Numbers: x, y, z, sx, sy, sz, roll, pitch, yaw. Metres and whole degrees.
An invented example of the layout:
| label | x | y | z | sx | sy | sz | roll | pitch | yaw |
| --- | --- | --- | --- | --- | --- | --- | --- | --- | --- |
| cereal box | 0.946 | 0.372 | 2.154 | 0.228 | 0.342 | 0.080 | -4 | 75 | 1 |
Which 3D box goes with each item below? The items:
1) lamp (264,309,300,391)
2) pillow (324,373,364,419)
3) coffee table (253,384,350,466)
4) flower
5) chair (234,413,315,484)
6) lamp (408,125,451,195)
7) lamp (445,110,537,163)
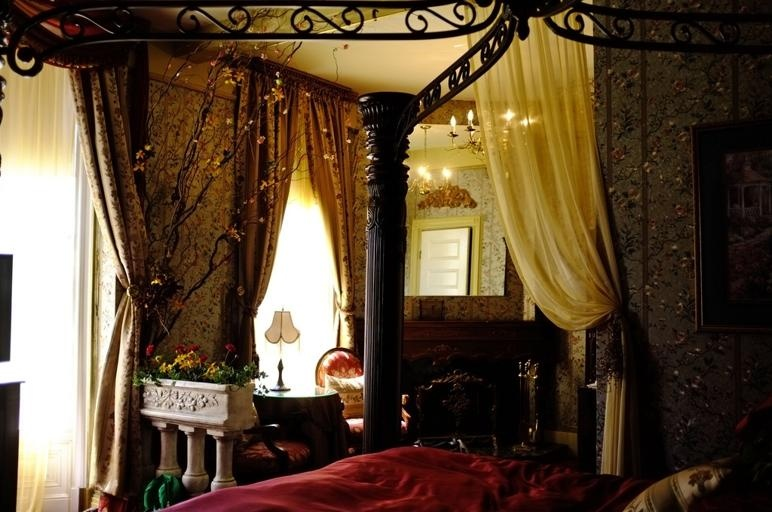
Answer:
| label | x | y | z | sx | sy | sz | roll | pitch | yaw |
| --- | --- | --- | --- | --- | --- | --- | --- | --- | --- |
| lamp | -0.962 | 0.865 | 6.157 | 0.285 | 0.766 | 0.741 | -3 | 1 | -9 |
| pillow | -0.373 | 1.500 | 6.767 | 0.395 | 0.255 | 0.397 | -7 | -14 | 13 |
| coffee table | -0.637 | 1.585 | 5.920 | 0.611 | 0.559 | 0.600 | -3 | -8 | 13 |
| flower | -1.585 | 0.913 | 5.392 | 0.705 | 0.224 | 0.530 | 0 | -3 | 6 |
| chair | -0.912 | 1.572 | 5.565 | 0.507 | 0.690 | 0.471 | 1 | -2 | 11 |
| lamp | 0.460 | -1.126 | 7.734 | 0.587 | 0.837 | 0.601 | -4 | 10 | -30 |
| lamp | 0.991 | -1.313 | 7.304 | 0.427 | 0.278 | 0.445 | 0 | -17 | -45 |
